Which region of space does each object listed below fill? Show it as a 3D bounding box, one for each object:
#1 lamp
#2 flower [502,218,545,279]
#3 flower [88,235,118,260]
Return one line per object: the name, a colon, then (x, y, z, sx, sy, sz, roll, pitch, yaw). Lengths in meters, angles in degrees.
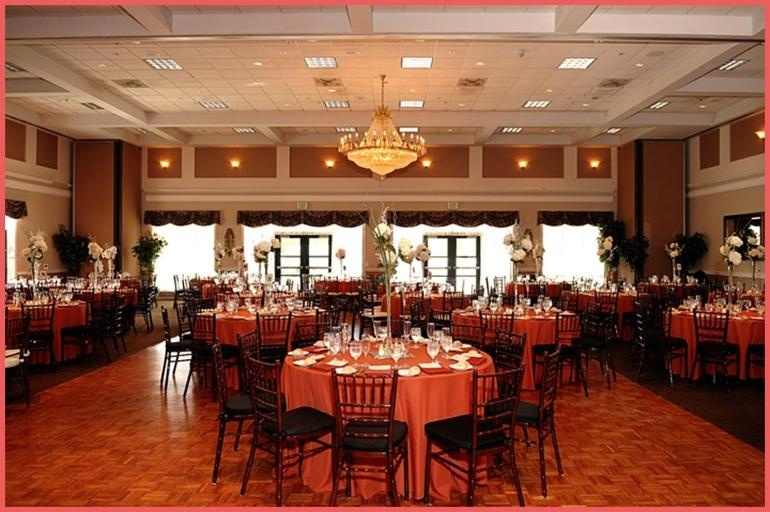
lamp: (-0.037, -3.125, 12.666, 2.007, 2.537, 2.023, 5, 7, 44)
flower: (4.493, -0.265, 16.946, 1.199, 1.952, 1.693, -5, 6, -25)
flower: (-8.757, -0.235, 16.393, 0.706, 0.715, 0.424, -16, -9, 10)
